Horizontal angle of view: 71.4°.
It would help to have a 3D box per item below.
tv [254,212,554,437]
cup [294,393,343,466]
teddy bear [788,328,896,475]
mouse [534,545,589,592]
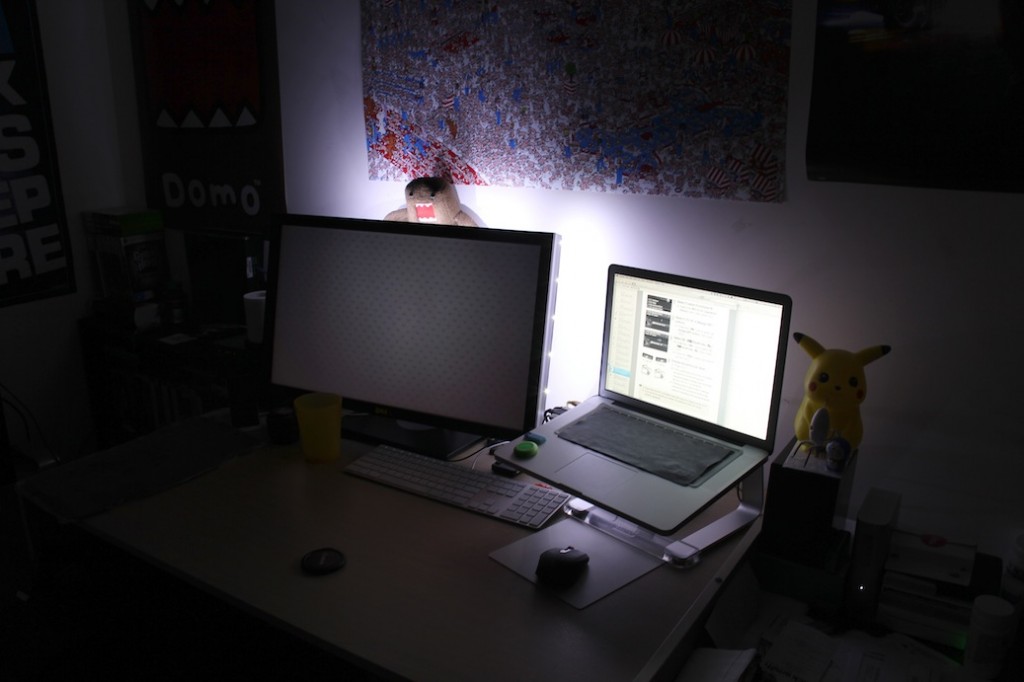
[{"bbox_3d":[-0.292,-0.032,1.976,0.611,0.378,0.141,8,13,17],"label":"tv"},{"bbox_3d":[-0.512,0.235,2.019,0.165,0.181,0.166,1,11,0],"label":"cup"},{"bbox_3d":[0.778,0.142,1.746,0.208,0.277,0.191,11,20,26],"label":"teddy bear"},{"bbox_3d":[0.127,0.503,1.637,0.116,0.054,0.184,-4,-4,10],"label":"mouse"}]
